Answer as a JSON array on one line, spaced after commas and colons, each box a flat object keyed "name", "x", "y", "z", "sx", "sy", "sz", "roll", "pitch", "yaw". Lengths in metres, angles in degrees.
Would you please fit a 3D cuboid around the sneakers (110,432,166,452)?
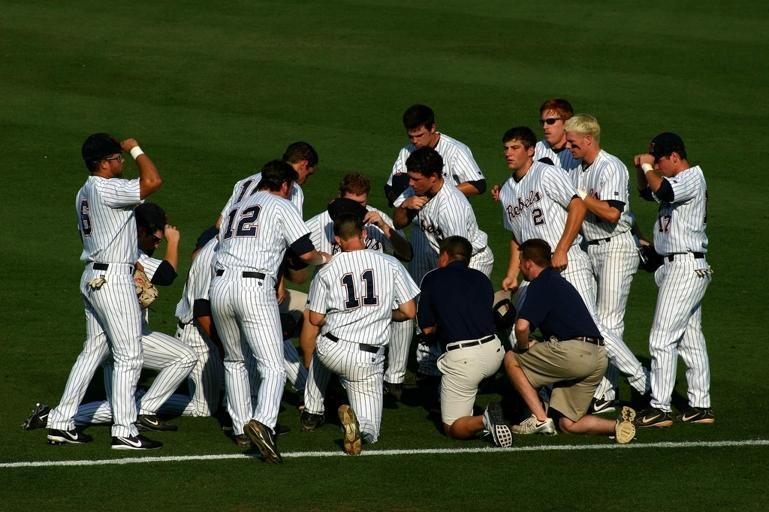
[{"name": "sneakers", "x": -3.640, "y": 2.752, "z": 23.723, "sx": 0.826, "sy": 0.244, "sz": 0.252, "roll": 0, "pitch": 2, "yaw": -4}]

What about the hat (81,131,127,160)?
[{"name": "hat", "x": -4.239, "y": -1.627, "z": 23.862, "sx": 0.602, "sy": 0.401, "sz": 0.377, "roll": -21, "pitch": 28, "yaw": -1}]

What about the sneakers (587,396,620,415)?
[{"name": "sneakers", "x": 3.350, "y": 2.309, "z": 24.793, "sx": 0.576, "sy": 0.200, "sz": 0.184, "roll": -6, "pitch": 13, "yaw": -7}]

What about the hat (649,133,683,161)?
[{"name": "hat", "x": 4.320, "y": -1.673, "z": 24.620, "sx": 0.580, "sy": 0.340, "sz": 0.354, "roll": 17, "pitch": -3, "yaw": -2}]

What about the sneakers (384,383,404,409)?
[{"name": "sneakers", "x": 0.103, "y": 2.178, "z": 25.260, "sx": 0.337, "sy": 0.330, "sz": 0.125, "roll": -4, "pitch": -13, "yaw": 4}]

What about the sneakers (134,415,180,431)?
[{"name": "sneakers", "x": -3.497, "y": 2.513, "z": 24.334, "sx": 0.718, "sy": 0.202, "sz": 0.209, "roll": 6, "pitch": 0, "yaw": -14}]

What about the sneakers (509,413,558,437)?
[{"name": "sneakers", "x": 2.233, "y": 2.540, "z": 24.019, "sx": 0.770, "sy": 0.247, "sz": 0.243, "roll": 1, "pitch": 2, "yaw": 7}]

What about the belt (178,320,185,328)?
[{"name": "belt", "x": -3.156, "y": 1.042, "z": 24.759, "sx": 0.125, "sy": 0.069, "sz": 0.107, "roll": 3, "pitch": -3, "yaw": -5}]
